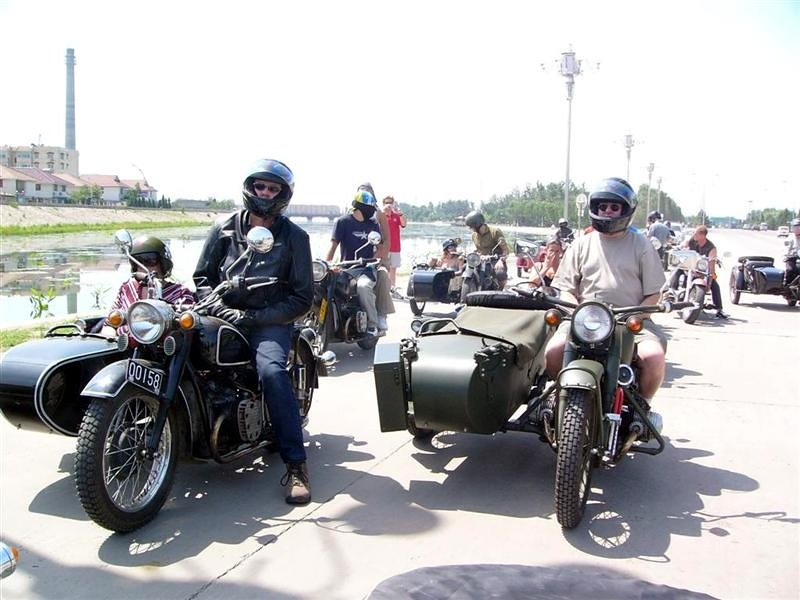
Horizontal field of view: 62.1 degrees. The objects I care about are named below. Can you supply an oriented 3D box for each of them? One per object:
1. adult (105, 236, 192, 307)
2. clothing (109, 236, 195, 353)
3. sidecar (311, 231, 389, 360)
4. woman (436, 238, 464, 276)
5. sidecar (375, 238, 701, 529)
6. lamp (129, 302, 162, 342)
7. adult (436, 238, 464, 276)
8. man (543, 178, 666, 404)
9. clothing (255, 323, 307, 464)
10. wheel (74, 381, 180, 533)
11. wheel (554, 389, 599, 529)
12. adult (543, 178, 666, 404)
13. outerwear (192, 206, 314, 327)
[{"bbox_3d":[-2.059,-0.174,5.156,0.441,0.486,0.739,-13,5,11],"label":"adult"},{"bbox_3d":[-2.051,-0.126,5.149,0.538,0.616,0.933,-11,6,16],"label":"clothing"},{"bbox_3d":[-0.724,0.043,9.037,0.868,1.056,1.509,-1,1,28],"label":"sidecar"},{"bbox_3d":[1.135,-0.867,13.054,0.439,0.765,0.697,-2,5,-20],"label":"woman"},{"bbox_3d":[0.925,0.519,5.074,1.392,1.306,2.347,-3,-1,19],"label":"sidecar"},{"bbox_3d":[-1.721,0.150,4.501,0.192,0.251,0.101,-9,5,20],"label":"lamp"},{"bbox_3d":[0.823,-0.864,12.931,0.439,0.765,0.697,-2,5,-20],"label":"adult"},{"bbox_3d":[1.768,-0.087,5.757,1.013,1.968,1.052,2,6,18],"label":"man"},{"bbox_3d":[-0.908,0.731,5.248,0.414,1.286,0.309,-9,-11,-3],"label":"clothing"},{"bbox_3d":[-1.919,1.060,4.569,0.479,1.017,0.788,5,12,24],"label":"wheel"},{"bbox_3d":[1.234,1.124,4.657,0.256,0.953,0.451,4,11,17],"label":"wheel"},{"bbox_3d":[1.826,-0.079,5.744,1.052,1.970,1.021,1,8,31],"label":"adult"},{"bbox_3d":[-1.104,-0.264,5.717,1.097,1.218,0.818,4,5,0],"label":"outerwear"}]
